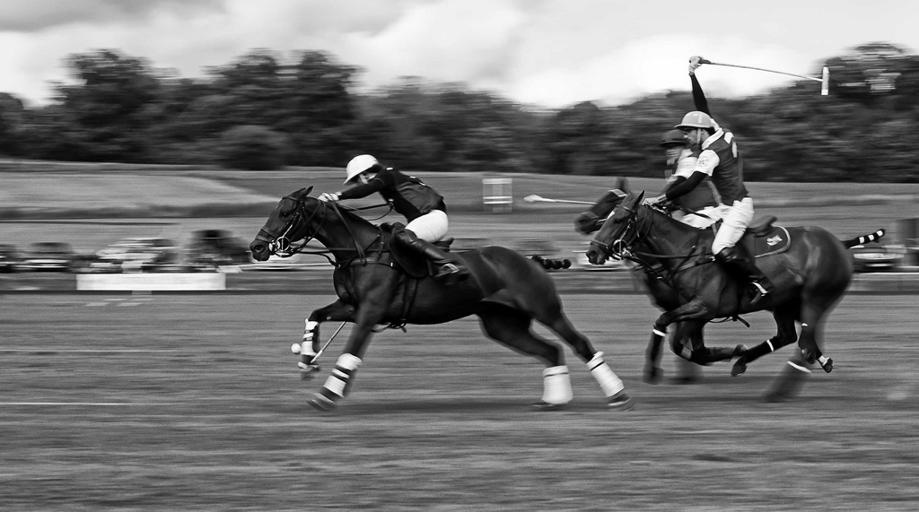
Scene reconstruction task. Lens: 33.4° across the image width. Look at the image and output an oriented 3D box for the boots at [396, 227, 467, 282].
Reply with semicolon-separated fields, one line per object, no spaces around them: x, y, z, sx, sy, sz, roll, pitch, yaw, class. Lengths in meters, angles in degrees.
-0.595;-0.005;24.316;1.712;0.368;0.541;20;42;8;boots
